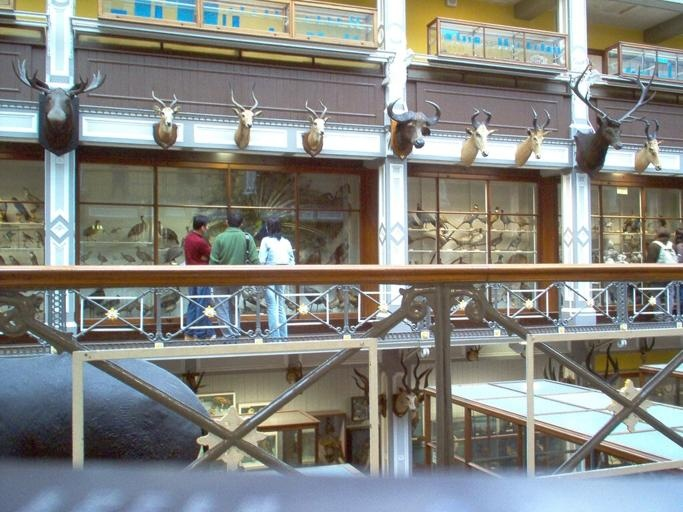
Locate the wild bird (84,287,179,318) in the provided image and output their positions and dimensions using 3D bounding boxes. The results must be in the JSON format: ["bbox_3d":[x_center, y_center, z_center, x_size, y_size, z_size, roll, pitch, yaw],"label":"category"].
[{"bbox_3d":[-2.952,0.665,12.593,1.305,0.323,1.204,0,-4,-23],"label":"wild bird"}]

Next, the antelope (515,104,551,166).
[{"bbox_3d":[3.017,-1.893,14.007,0.393,0.895,0.573,-1,1,-16],"label":"antelope"}]

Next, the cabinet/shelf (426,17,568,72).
[{"bbox_3d":[2.561,-3.403,14.281,2.347,0.797,0.398,-3,7,-18],"label":"cabinet/shelf"}]

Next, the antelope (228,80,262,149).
[{"bbox_3d":[-1.376,-1.980,12.862,0.426,0.875,0.625,-2,7,-9],"label":"antelope"}]

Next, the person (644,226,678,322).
[{"bbox_3d":[4.300,0.308,11.978,0.341,1.527,0.390,3,2,-25],"label":"person"}]

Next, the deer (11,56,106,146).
[{"bbox_3d":[-3.816,-1.969,12.059,1.120,1.220,0.598,2,0,-12],"label":"deer"}]

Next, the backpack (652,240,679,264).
[{"bbox_3d":[4.525,-0.049,12.461,0.262,0.329,0.181,3,-10,-22],"label":"backpack"}]

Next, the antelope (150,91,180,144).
[{"bbox_3d":[-2.482,-1.942,12.590,0.378,0.825,0.523,-2,7,-12],"label":"antelope"}]

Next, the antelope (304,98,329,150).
[{"bbox_3d":[-0.388,-1.901,13.232,0.361,0.808,0.542,0,7,2],"label":"antelope"}]

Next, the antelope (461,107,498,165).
[{"bbox_3d":[2.133,-1.799,13.694,0.399,0.939,0.449,2,5,-39],"label":"antelope"}]

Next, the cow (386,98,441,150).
[{"bbox_3d":[1.080,-1.967,13.333,0.767,0.728,1.089,0,7,4],"label":"cow"}]

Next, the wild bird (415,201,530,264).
[{"bbox_3d":[2.178,-0.368,14.923,2.453,1.065,0.431,-5,8,-29],"label":"wild bird"}]

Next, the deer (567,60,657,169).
[{"bbox_3d":[4.275,-2.184,14.268,1.231,1.782,2.011,1,7,15],"label":"deer"}]
